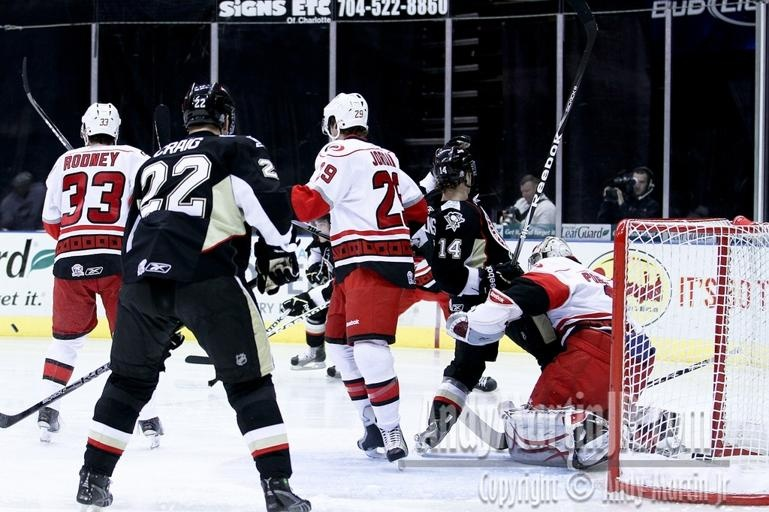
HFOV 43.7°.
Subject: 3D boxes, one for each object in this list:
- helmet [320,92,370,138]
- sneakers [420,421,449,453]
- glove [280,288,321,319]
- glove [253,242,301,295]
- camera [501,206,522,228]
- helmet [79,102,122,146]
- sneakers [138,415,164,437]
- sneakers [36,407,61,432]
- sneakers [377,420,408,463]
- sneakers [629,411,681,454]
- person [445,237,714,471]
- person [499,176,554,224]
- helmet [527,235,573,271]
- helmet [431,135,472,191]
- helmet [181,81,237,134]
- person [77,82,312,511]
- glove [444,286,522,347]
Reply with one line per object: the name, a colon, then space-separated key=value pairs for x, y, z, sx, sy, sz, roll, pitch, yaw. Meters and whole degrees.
helmet: x=-0.258 y=-0.948 z=6.424 sx=0.292 sy=0.299 sz=0.356 roll=-8 pitch=14 yaw=-40
sneakers: x=0.293 y=1.164 z=6.184 sx=0.221 sy=0.119 sz=0.086 roll=-41 pitch=17 yaw=-17
glove: x=-0.774 y=0.418 z=8.288 sx=0.236 sy=0.119 sz=0.305 roll=-16 pitch=-15 yaw=36
glove: x=-0.645 y=0.086 z=5.611 sx=0.315 sy=0.293 sz=0.127 roll=15 pitch=34 yaw=-10
camera: x=1.543 y=-0.479 z=11.827 sx=0.186 sy=0.242 sz=0.247 roll=1 pitch=3 yaw=-24
helmet: x=-2.019 y=-0.936 z=6.860 sx=0.333 sy=0.333 sz=0.400 roll=0 pitch=4 yaw=-22
sneakers: x=-1.520 y=1.133 z=6.295 sx=0.128 sy=0.109 sz=0.139 roll=-5 pitch=-27 yaw=-19
sneakers: x=-2.221 y=1.106 z=6.447 sx=0.162 sy=0.152 sz=0.185 roll=-4 pitch=-15 yaw=6
sneakers: x=0.051 y=1.189 z=5.981 sx=0.108 sy=0.120 sz=0.305 roll=-27 pitch=33 yaw=8
sneakers: x=1.665 y=1.100 z=5.863 sx=0.360 sy=0.252 sz=0.125 roll=2 pitch=1 yaw=-11
person: x=1.122 y=0.598 z=6.035 sx=1.354 sy=1.404 sz=0.685 roll=0 pitch=-1 yaw=26
person: x=1.677 y=-0.632 z=11.247 sx=0.423 sy=0.580 sz=0.710 roll=5 pitch=3 yaw=-20
helmet: x=1.129 y=0.008 z=6.469 sx=0.248 sy=0.213 sz=0.234 roll=-5 pitch=32 yaw=28
helmet: x=0.481 y=-0.654 z=6.669 sx=0.272 sy=0.268 sz=0.380 roll=-7 pitch=2 yaw=28
helmet: x=-1.092 y=-0.889 z=5.775 sx=0.284 sy=0.317 sz=0.334 roll=2 pitch=4 yaw=9
person: x=-1.044 y=0.217 z=5.423 sx=1.237 sy=2.427 sz=0.440 roll=0 pitch=-1 yaw=-5
glove: x=0.638 y=0.399 z=6.103 sx=0.341 sy=0.197 sz=0.533 roll=12 pitch=36 yaw=32
